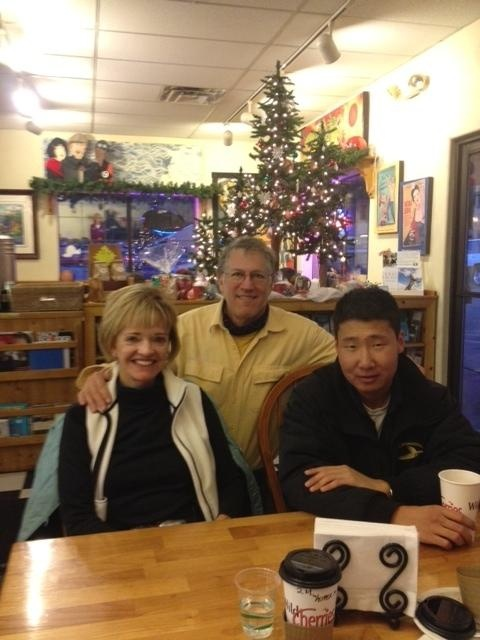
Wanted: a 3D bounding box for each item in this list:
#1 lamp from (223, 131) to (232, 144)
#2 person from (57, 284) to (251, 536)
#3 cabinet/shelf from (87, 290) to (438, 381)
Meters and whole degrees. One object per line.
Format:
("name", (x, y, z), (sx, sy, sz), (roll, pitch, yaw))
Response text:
("lamp", (-0.168, -2.480, 6.668), (0.091, 0.225, 0.232), (-3, 4, -10))
("person", (-0.261, 0.254, 1.427), (0.478, 0.708, 0.470), (-1, 4, 10))
("cabinet/shelf", (0.437, -0.059, 5.154), (3.769, 0.612, 2.059), (2, 5, -3))
